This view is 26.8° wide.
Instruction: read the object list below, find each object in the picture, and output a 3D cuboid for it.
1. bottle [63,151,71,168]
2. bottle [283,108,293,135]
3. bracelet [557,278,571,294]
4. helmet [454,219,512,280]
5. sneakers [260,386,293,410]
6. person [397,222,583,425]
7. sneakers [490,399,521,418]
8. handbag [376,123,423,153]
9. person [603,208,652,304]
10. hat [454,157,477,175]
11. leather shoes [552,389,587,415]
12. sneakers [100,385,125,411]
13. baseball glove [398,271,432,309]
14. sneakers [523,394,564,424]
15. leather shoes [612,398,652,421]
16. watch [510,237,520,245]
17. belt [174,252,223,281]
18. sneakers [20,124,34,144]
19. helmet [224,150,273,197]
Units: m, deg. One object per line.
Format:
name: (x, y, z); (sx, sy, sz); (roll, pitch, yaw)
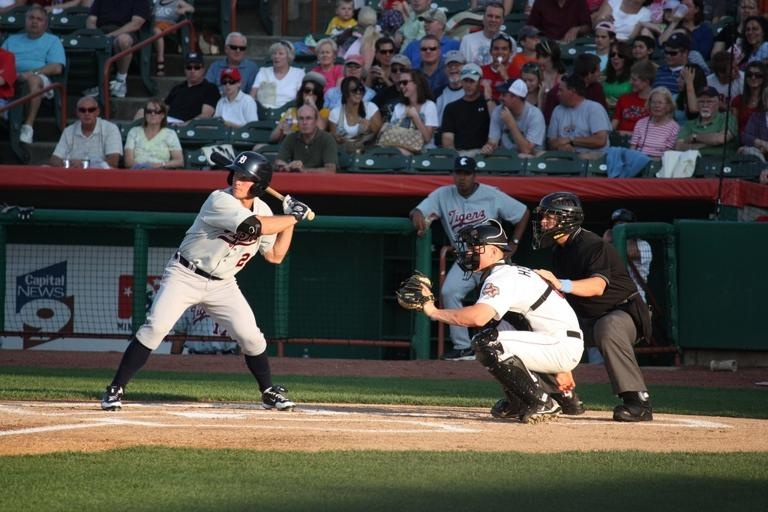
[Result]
bottle: (-4.077, -1.227, 20.565); (0.098, 0.158, 0.502); (0, 8, -12)
bottle: (-1.248, -1.718, 20.713); (0.170, 0.153, 0.425); (3, 30, 5)
bracelet: (1.818, 0.303, 16.017); (0.140, 0.066, 0.108); (2, 32, -17)
helmet: (0.973, -0.114, 16.138); (0.610, 0.504, 0.471); (2, 6, 6)
sneakers: (-1.025, 1.464, 16.480); (0.436, 0.201, 0.155); (4, 20, 26)
person: (1.191, 0.660, 15.970); (1.663, 2.003, 0.658); (2, 9, 2)
sneakers: (1.219, 1.550, 16.191); (0.381, 0.150, 0.131); (0, 7, -1)
handbag: (0.205, -1.471, 20.273); (0.374, 0.336, 0.155); (9, -35, 6)
person: (2.862, -0.001, 19.499); (0.320, 1.085, 0.650); (-9, -1, -10)
hat: (0.968, -1.081, 19.192); (0.256, 0.205, 0.221); (2, 8, 2)
leather shoes: (1.886, 1.489, 16.385); (0.396, 0.227, 0.169); (-1, 21, -4)
sneakers: (-2.738, 1.432, 16.144); (0.131, 0.158, 0.364); (7, 17, -20)
baseball glove: (0.310, 0.363, 15.956); (0.292, 0.352, 0.172); (27, -9, 5)
sneakers: (1.569, 1.529, 16.014); (0.511, 0.229, 0.183); (-7, -22, -20)
leather shoes: (2.506, 1.553, 16.124); (0.382, 0.237, 0.187); (3, 0, -4)
watch: (1.575, -0.170, 19.298); (0.089, 0.086, 0.087); (7, -7, 2)
belt: (-1.893, 0.110, 16.214); (0.329, 0.074, 0.318); (31, -2, -32)
sneakers: (-4.844, -1.638, 21.632); (0.167, 0.253, 0.140); (-1, 9, -16)
helmet: (-1.382, -0.837, 16.241); (0.408, 0.401, 0.497); (13, 8, 39)
